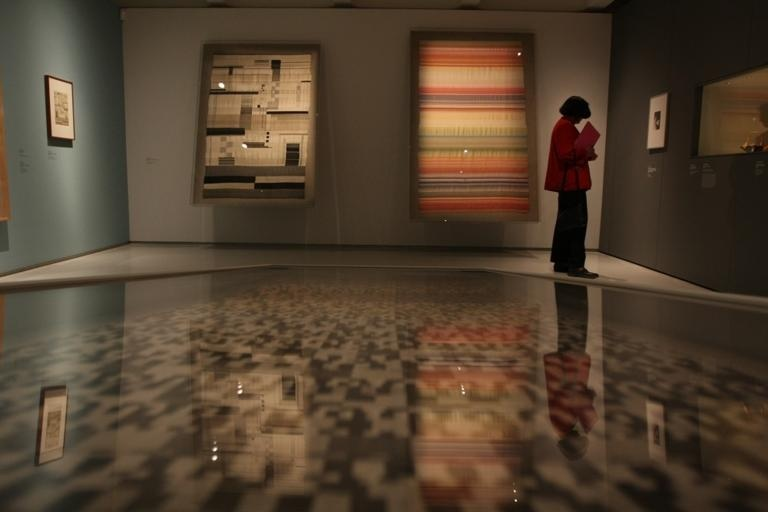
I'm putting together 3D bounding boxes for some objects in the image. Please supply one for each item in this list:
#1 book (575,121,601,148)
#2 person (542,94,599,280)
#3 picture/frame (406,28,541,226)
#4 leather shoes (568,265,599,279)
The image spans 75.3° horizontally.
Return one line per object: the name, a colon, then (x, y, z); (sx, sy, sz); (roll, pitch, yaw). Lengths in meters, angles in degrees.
book: (1.715, -1.011, 4.184); (0.050, 0.207, 0.200); (11, -30, -16)
person: (1.669, -0.613, 4.409); (0.509, 1.579, 0.438); (7, 11, 31)
picture/frame: (1.052, -1.535, 5.914); (2.222, 3.142, 0.143); (0, 0, -1)
leather shoes: (1.699, 0.161, 4.365); (0.338, 0.140, 0.117); (-4, 2, 23)
